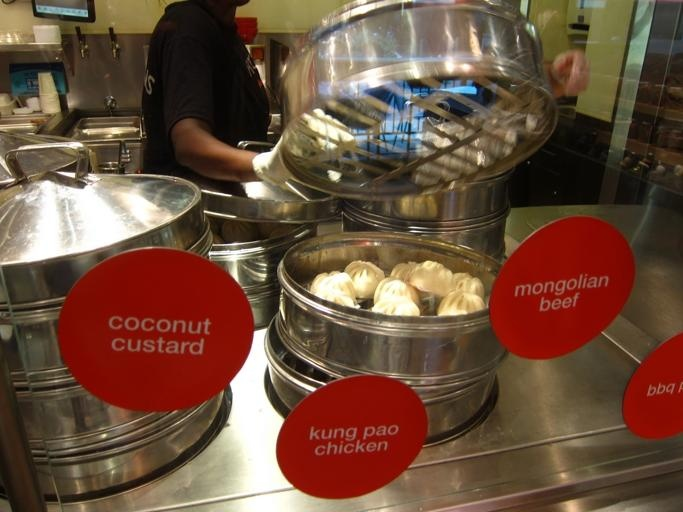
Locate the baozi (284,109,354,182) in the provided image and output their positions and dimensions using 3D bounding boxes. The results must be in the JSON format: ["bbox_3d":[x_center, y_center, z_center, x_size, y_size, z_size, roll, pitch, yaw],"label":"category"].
[{"bbox_3d":[-0.038,-0.156,0.678,0.081,0.086,0.146,4,24,12],"label":"baozi"}]

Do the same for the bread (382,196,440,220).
[{"bbox_3d":[0.126,-0.083,0.869,0.050,0.035,0.054,0,13,2],"label":"bread"}]

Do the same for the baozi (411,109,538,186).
[{"bbox_3d":[0.193,-0.164,0.744,0.138,0.097,0.088,-6,23,-12],"label":"baozi"}]
